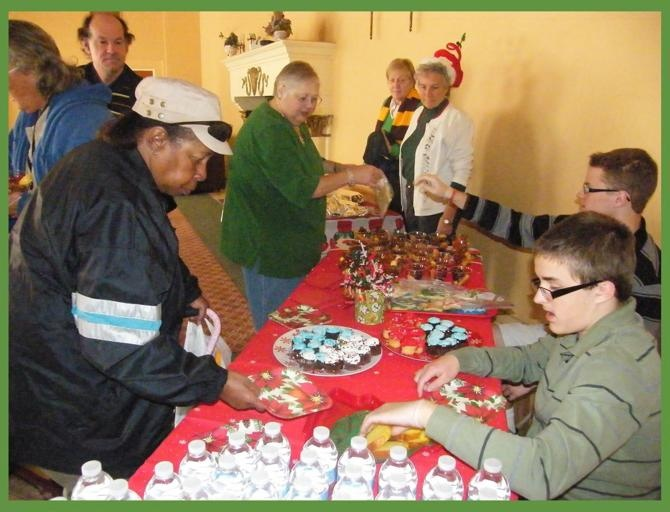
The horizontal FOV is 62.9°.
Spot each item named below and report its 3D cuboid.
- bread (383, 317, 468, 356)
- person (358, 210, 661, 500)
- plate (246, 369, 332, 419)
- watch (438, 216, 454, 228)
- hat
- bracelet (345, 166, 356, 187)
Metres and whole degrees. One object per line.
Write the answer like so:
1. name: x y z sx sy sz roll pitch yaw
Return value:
1. bread: 0.374 0.331 2.288 0.215 0.052 0.201 -1 11 1
2. person: 0.690 0.414 1.740 0.840 0.986 0.478 -14 23 -33
3. plate: -0.158 0.471 1.879 0.222 0.064 0.286 -7 18 -20
4. watch: 0.820 -0.243 4.035 0.103 0.056 0.107 -1 7 5
5. hat: -0.533 -0.512 1.986 0.366 0.172 0.238 15 19 -10
6. bracelet: 0.095 -0.474 3.285 0.033 0.081 0.067 -7 35 6
